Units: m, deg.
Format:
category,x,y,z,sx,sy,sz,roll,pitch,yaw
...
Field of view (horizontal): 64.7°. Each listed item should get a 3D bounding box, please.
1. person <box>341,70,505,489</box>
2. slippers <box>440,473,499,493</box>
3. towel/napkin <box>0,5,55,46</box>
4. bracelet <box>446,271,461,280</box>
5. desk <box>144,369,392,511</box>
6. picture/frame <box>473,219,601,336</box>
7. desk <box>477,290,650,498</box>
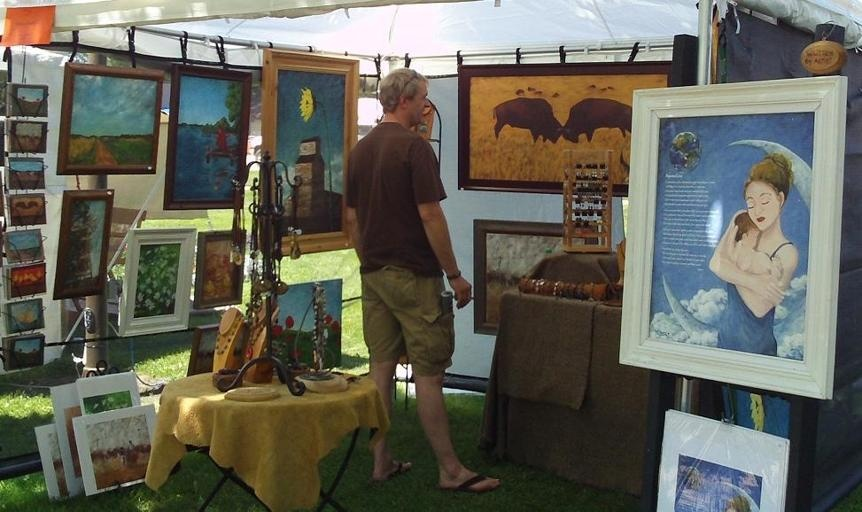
category,x,y,z,sx,sy,sz,roll,pitch,yaw
person,-0.151,0.207,4.976,1.081,3.059,0.352,8,13,31
slippers,0.312,1.708,5.146,0.348,0.099,0.166,-2,5,4
towel/napkin,-2.694,-1.529,4.506,0.376,0.261,0.140,2,11,6
bracelet,0.159,0.139,4.871,0.060,0.077,0.090,4,-9,6
desk,-0.987,0.996,3.915,0.906,0.429,0.913,2,4,24
picture/frame,0.942,0.146,5.833,1.158,1.130,0.079,1,1,24
desk,1.033,1.033,5.332,1.371,1.172,1.384,8,12,32
